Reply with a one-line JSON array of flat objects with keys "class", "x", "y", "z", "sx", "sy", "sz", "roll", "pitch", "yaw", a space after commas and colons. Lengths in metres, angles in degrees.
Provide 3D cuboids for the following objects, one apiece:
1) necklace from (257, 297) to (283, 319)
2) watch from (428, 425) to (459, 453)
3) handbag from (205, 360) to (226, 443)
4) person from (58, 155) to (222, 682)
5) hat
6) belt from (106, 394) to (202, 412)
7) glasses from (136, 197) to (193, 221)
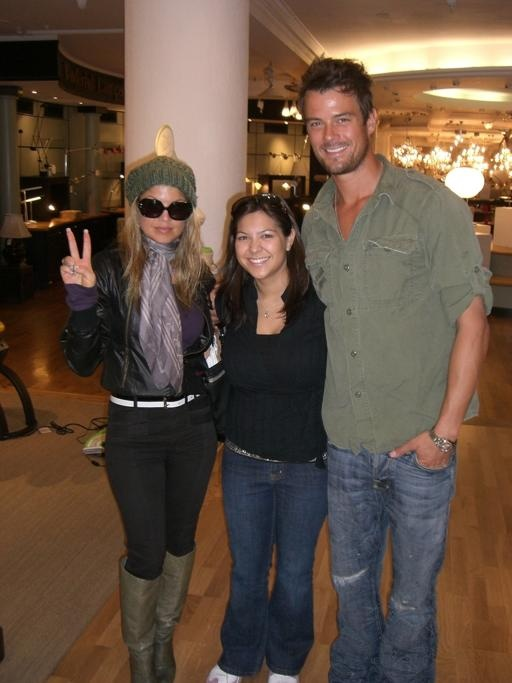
[{"class": "necklace", "x": 0.037, "y": -0.095, "z": 1.533, "sx": 0.058, "sy": 0.057, "sz": 0.021, "roll": 2, "pitch": -16, "yaw": 13}, {"class": "watch", "x": 0.430, "y": 0.238, "z": 1.207, "sx": 0.052, "sy": 0.032, "sz": 0.060, "roll": 26, "pitch": 27, "yaw": -19}, {"class": "handbag", "x": -0.146, "y": 0.194, "z": 1.637, "sx": 0.060, "sy": 0.235, "sz": 0.057, "roll": -13, "pitch": -8, "yaw": 20}, {"class": "person", "x": -0.287, "y": 0.296, "z": 1.548, "sx": 0.368, "sy": 1.655, "sz": 0.281, "roll": -1, "pitch": 6, "yaw": -19}, {"class": "hat", "x": -0.282, "y": -0.431, "z": 1.533, "sx": 0.210, "sy": 0.112, "sz": 0.193, "roll": -4, "pitch": -28, "yaw": -17}, {"class": "belt", "x": -0.280, "y": 0.171, "z": 1.469, "sx": 0.256, "sy": 0.036, "sz": 0.092, "roll": -1, "pitch": 7, "yaw": -16}, {"class": "glasses", "x": -0.253, "y": -0.369, "z": 1.468, "sx": 0.160, "sy": 0.058, "sz": 0.103, "roll": -1, "pitch": 6, "yaw": -15}]
